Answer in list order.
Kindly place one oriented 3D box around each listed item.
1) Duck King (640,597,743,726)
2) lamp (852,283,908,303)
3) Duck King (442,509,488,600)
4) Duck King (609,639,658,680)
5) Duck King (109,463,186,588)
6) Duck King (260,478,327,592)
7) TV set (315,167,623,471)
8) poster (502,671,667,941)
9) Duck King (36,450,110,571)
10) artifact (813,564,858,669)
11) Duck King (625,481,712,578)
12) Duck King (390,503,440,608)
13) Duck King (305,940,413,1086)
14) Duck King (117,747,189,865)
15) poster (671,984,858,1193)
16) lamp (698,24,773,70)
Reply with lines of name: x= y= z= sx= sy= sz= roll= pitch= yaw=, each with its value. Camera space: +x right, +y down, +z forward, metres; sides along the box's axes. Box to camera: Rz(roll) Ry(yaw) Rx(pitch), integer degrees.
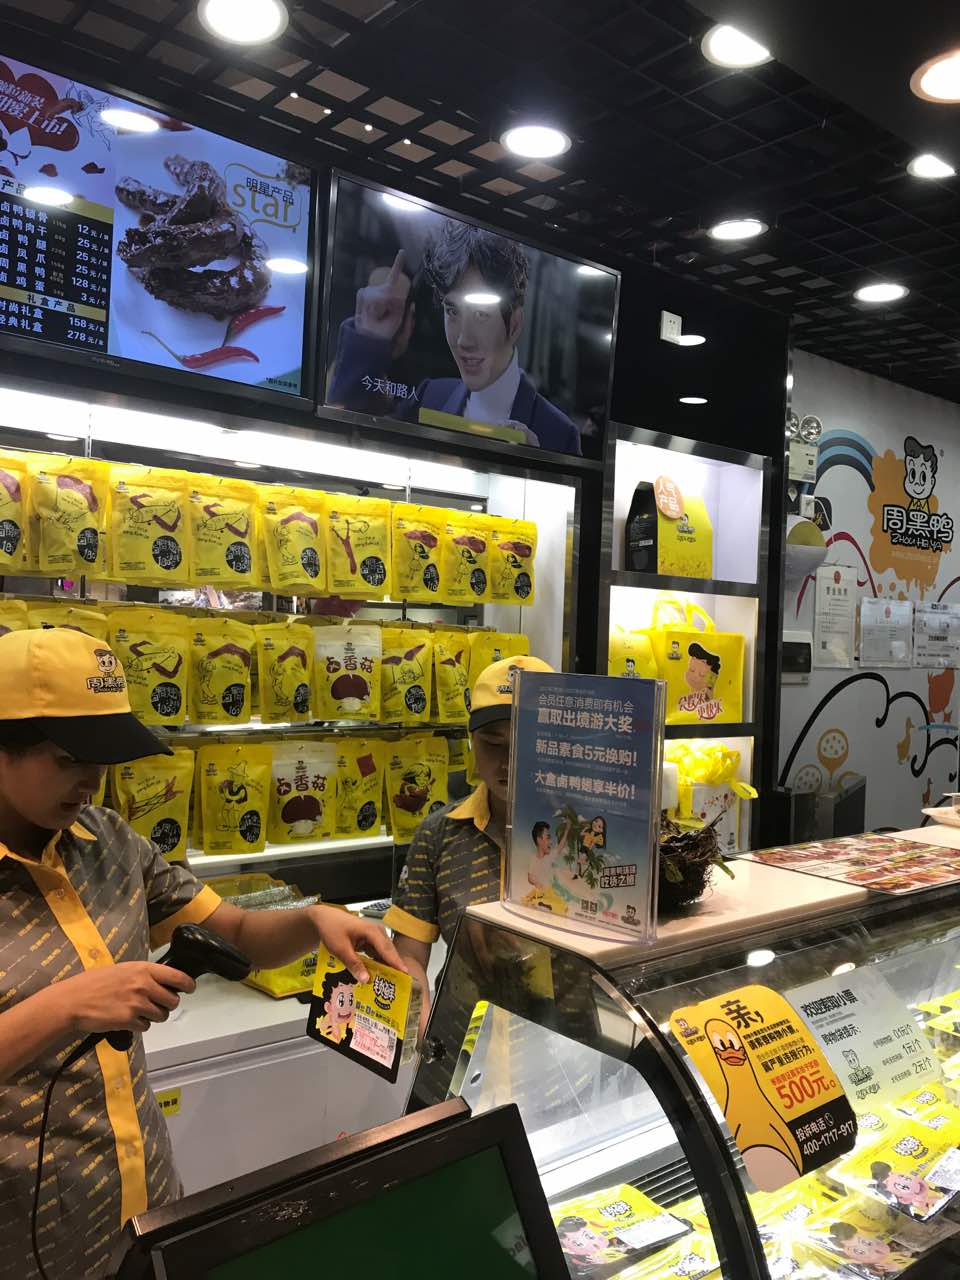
Duck King: x=0.797 y=0.082 z=3.545 sx=0.373 sy=0.479 sz=0.284 roll=6 pitch=-8 yaw=-21
lamp: x=1.817 y=-1.555 z=4.054 sx=0.213 sy=0.052 sz=0.276 roll=7 pitch=7 yaw=22
Duck King: x=-0.042 y=-0.263 z=2.854 sx=0.066 sy=0.282 sz=0.188 roll=10 pitch=8 yaw=39
Duck King: x=0.515 y=0.059 z=3.036 sx=0.140 sy=0.122 sz=0.100 roll=1 pitch=-2 yaw=-16
Duck King: x=-0.815 y=-0.284 z=2.225 sx=0.195 sy=0.281 sz=0.085 roll=2 pitch=7 yaw=-26
Duck King: x=-0.507 y=-0.273 z=2.464 sx=0.200 sy=0.286 sz=0.093 roll=3 pitch=6 yaw=-19
TV set: x=-0.038 y=-0.928 z=2.739 sx=1.173 sy=0.665 sz=0.036 roll=24 pitch=31 yaw=35
poster: x=0.117 y=0.196 z=1.072 sx=0.031 sy=0.339 sz=0.260 roll=0 pitch=8 yaw=-39
Duck King: x=-0.957 y=-0.289 z=2.105 sx=0.179 sy=0.273 sz=0.098 roll=0 pitch=8 yaw=-40
artifact: x=1.945 y=-0.124 z=4.873 sx=0.402 sy=0.551 sz=0.092 roll=0 pitch=8 yaw=-41
Duck King: x=0.696 y=-0.401 z=3.352 sx=0.373 sy=0.381 sz=0.233 roll=3 pitch=-5 yaw=-33
Duck King: x=-0.186 y=-0.265 z=2.726 sx=0.074 sy=0.277 sz=0.188 roll=10 pitch=8 yaw=40
Duck King: x=-0.135 y=0.428 z=1.055 sx=0.168 sy=0.113 sz=0.041 roll=-1 pitch=-6 yaw=43
Duck King: x=-0.804 y=0.394 z=2.260 sx=0.185 sy=0.241 sz=0.080 roll=-4 pitch=21 yaw=-15
poster: x=0.311 y=0.489 z=1.014 sx=0.207 sy=0.042 sz=0.219 roll=34 pitch=34 yaw=19
lamp: x=0.614 y=-1.436 z=2.179 sx=0.183 sy=0.034 sz=0.120 roll=0 pitch=8 yaw=-32
